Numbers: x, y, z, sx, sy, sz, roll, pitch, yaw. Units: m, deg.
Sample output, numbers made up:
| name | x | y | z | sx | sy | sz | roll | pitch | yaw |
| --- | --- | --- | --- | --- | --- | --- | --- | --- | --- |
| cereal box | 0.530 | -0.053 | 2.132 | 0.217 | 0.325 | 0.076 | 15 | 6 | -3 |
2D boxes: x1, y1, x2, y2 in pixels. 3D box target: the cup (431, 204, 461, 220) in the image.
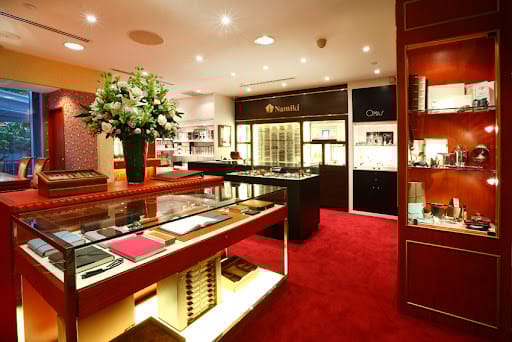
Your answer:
| name | x | y | z | sx | sy | sz | roll | pitch | yaw |
| --- | --- | --- | --- | --- | --- | --- | --- | --- | --- |
| cup | 2.271 | 0.477 | 3.916 | 0.142 | 0.126 | 0.258 | -2 | 5 | -22 |

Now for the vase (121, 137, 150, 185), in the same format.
| name | x | y | z | sx | sy | sz | roll | pitch | yaw |
| --- | --- | --- | --- | --- | --- | --- | --- | --- | --- |
| vase | -1.349 | -0.118 | 3.909 | 0.444 | 0.695 | 0.442 | 2 | 1 | -19 |

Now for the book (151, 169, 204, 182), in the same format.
| name | x | y | z | sx | sy | sz | roll | pitch | yaw |
| --- | --- | --- | --- | --- | --- | --- | --- | --- | --- |
| book | -0.968 | 0.036 | 4.054 | 0.462 | 0.085 | 0.506 | 3 | 9 | 34 |

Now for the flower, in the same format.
| name | x | y | z | sx | sy | sz | roll | pitch | yaw |
| --- | --- | --- | --- | --- | --- | --- | --- | --- | --- |
| flower | -1.419 | -0.733 | 3.802 | 0.976 | 0.860 | 1.026 | 3 | 7 | 18 |
